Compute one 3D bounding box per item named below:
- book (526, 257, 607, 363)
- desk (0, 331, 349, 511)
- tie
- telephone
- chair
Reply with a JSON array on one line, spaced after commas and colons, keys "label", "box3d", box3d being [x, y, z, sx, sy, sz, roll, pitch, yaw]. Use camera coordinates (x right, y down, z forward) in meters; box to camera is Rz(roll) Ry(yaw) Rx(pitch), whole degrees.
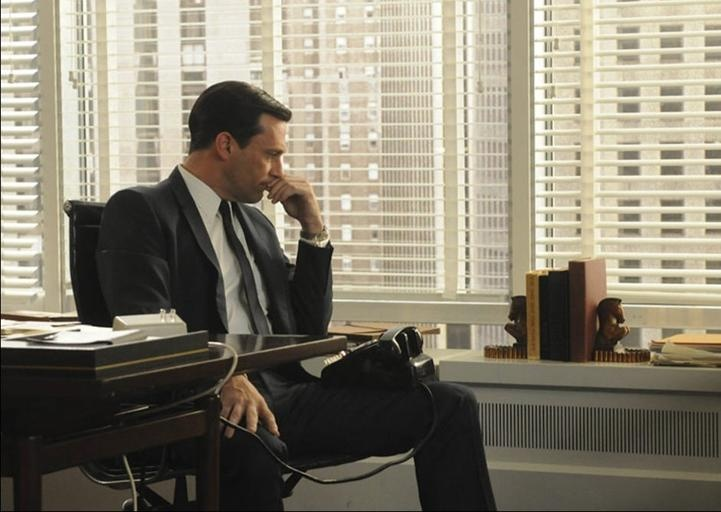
[{"label": "book", "box3d": [0.730, 0.180, 3.329, 0.351, 0.400, 0.437, 0, 0, 29]}, {"label": "desk", "box3d": [-0.502, 0.312, 2.164, 0.559, 0.294, 0.539, 2, 3, 28]}, {"label": "tie", "box3d": [-0.379, 0.054, 2.820, 0.064, 0.458, 0.054, -23, -11, -4]}, {"label": "telephone", "box3d": [0.055, 0.319, 2.796, 0.328, 0.141, 0.334, -4, -5, 15]}, {"label": "chair", "box3d": [-0.442, 0.326, 3.263, 0.986, 1.348, 0.971, -7, -7, 27]}]
